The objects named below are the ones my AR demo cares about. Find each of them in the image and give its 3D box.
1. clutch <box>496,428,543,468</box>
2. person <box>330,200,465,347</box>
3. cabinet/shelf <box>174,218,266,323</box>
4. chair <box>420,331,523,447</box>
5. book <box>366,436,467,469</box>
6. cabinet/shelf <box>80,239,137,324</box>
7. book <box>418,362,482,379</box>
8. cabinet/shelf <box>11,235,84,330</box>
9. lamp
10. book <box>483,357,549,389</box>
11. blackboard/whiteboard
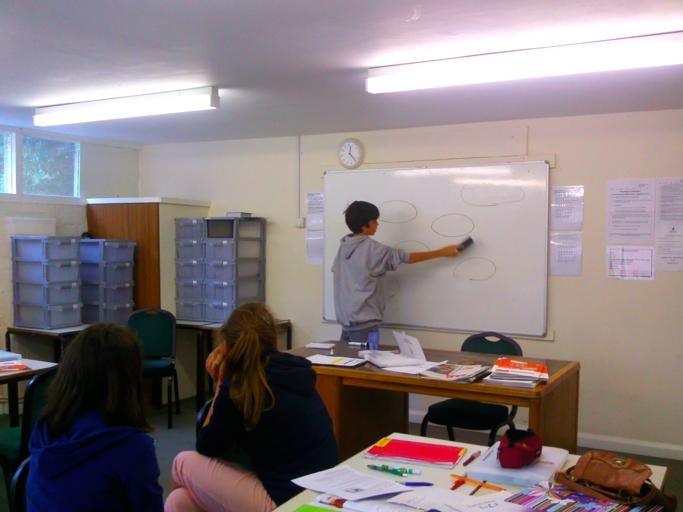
[{"bbox_3d":[0.743,0.766,2.192,0.155,0.101,0.288,-8,-5,35],"label":"clutch"},{"bbox_3d":[0.548,0.158,4.704,1.181,1.314,0.477,9,13,41],"label":"person"},{"bbox_3d":[-1.313,0.139,5.650,0.871,1.063,0.629,0,2,17],"label":"cabinet/shelf"},{"bbox_3d":[0.934,1.078,3.805,0.559,1.014,0.632,1,-1,37],"label":"chair"},{"bbox_3d":[0.334,0.849,2.327,0.419,0.025,0.286,0,4,19],"label":"book"},{"bbox_3d":[-2.436,0.261,5.472,0.614,0.827,0.590,2,3,12],"label":"cabinet/shelf"},{"bbox_3d":[0.681,0.698,3.213,0.324,0.037,0.318,2,4,36],"label":"book"},{"bbox_3d":[-2.844,0.251,5.164,0.530,0.819,0.543,1,2,15],"label":"cabinet/shelf"},{"bbox_3d":[-1.777,-1.210,4.335,1.886,0.153,0.213,1,4,23],"label":"lamp"},{"bbox_3d":[1.019,0.679,3.088,0.342,0.083,0.319,1,4,29],"label":"book"},{"bbox_3d":[0.927,-0.042,4.704,1.661,1.127,0.075,2,4,25],"label":"blackboard/whiteboard"}]
